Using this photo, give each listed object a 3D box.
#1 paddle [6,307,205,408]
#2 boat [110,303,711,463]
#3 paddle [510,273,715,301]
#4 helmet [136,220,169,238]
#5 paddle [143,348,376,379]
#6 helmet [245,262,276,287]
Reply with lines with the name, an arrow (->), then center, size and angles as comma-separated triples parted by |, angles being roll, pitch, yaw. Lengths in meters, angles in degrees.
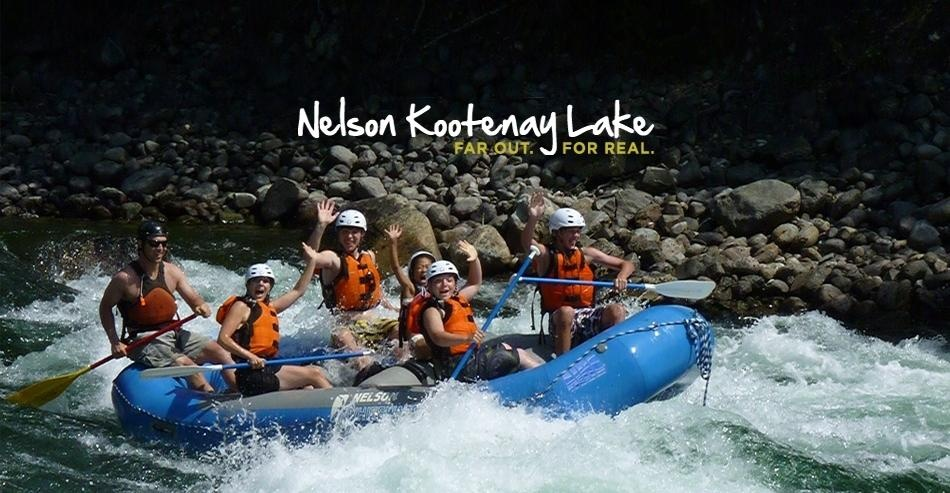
paddle -> -6.208, 1.939, 13.330 | 3.008, 0.135, 0.542 | -21, -34, 1
boat -> -0.698, 2.097, 12.604 | 9.083, 2.587, 0.574 | 3, 4, -2
paddle -> 2.634, 0.733, 14.310 | 3.254, 0.365, 0.226 | 4, 18, 1
helmet -> -5.222, -0.287, 12.812 | 0.361, 0.304, 0.313 | -9, 20, 7
paddle -> -3.578, 1.913, 12.804 | 3.791, 0.194, 0.389 | -2, 32, -12
helmet -> -3.510, 0.449, 12.856 | 0.345, 0.236, 0.429 | 0, 5, -20
